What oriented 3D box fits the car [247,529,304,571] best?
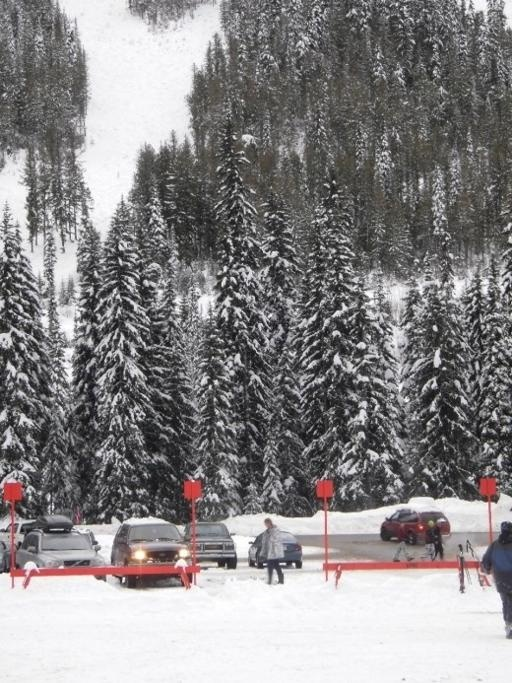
[{"bbox_3d":[0.649,7.428,50.446,1.623,2.525,1.778,-3,-4,-16],"label":"car"}]
